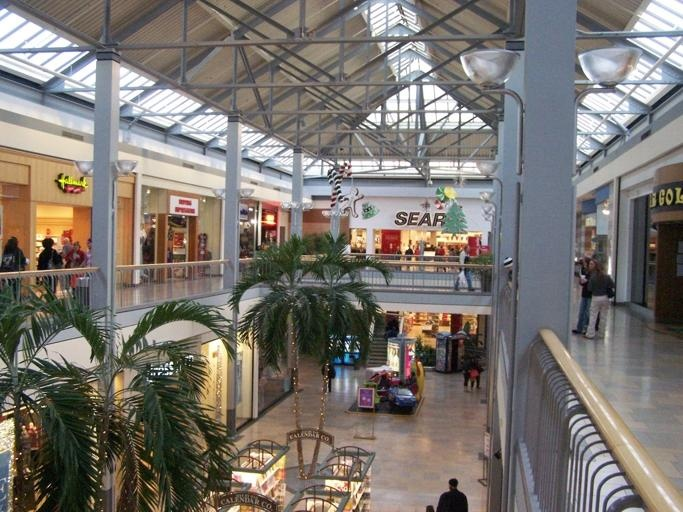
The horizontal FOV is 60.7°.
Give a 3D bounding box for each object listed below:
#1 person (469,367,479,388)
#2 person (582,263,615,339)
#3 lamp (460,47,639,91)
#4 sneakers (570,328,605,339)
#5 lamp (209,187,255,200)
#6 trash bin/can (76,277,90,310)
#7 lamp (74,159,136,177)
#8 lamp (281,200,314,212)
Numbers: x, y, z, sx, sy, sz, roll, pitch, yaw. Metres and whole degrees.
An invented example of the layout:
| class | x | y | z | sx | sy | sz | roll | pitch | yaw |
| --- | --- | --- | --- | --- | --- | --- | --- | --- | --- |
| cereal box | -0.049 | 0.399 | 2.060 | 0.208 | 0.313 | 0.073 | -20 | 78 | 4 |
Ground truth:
| class | x | y | z | sx | sy | sz | roll | pitch | yaw |
| --- | --- | --- | --- | --- | --- | --- | --- | --- | --- |
| person | 5.335 | 4.929 | 23.546 | 0.386 | 0.948 | 1.242 | 2 | 2 | 13 |
| person | 4.963 | 0.833 | 11.255 | 0.461 | 0.977 | 0.701 | 2 | 2 | 24 |
| lamp | 2.099 | -1.975 | 5.901 | 1.744 | 0.247 | 0.355 | 2 | 2 | 11 |
| sneakers | 4.809 | 1.532 | 11.354 | 0.566 | 0.273 | 0.181 | 11 | -7 | -20 |
| lamp | -3.519 | -2.063 | 18.715 | 0.944 | 0.355 | 2.561 | 1 | 2 | -20 |
| trash bin/can | -5.019 | 0.664 | 11.374 | 0.180 | 0.572 | 0.399 | 1 | 2 | -7 |
| lamp | -4.828 | -1.893 | 12.185 | 1.559 | 0.301 | 0.737 | 3 | 3 | 31 |
| lamp | -2.004 | -2.269 | 25.403 | 1.224 | 0.347 | 1.287 | 2 | -2 | -19 |
